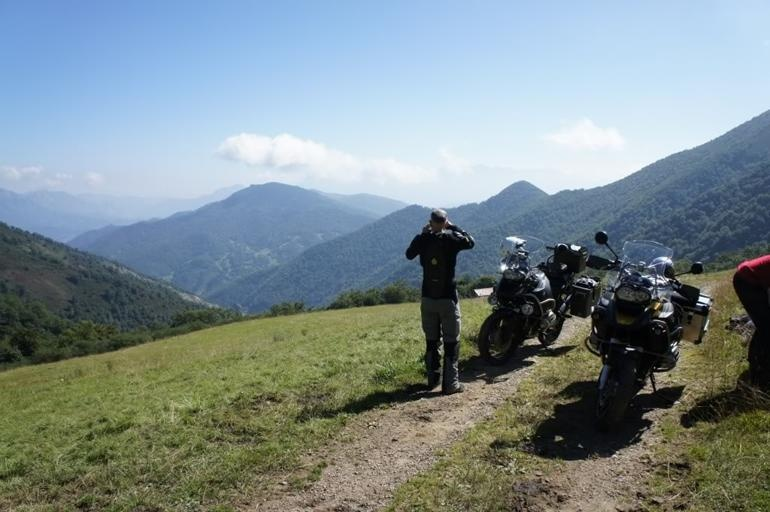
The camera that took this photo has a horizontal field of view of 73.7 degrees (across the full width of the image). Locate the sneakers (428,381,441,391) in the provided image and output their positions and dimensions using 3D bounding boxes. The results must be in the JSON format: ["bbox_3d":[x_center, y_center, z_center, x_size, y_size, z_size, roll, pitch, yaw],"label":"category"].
[{"bbox_3d":[1.141,3.095,12.267,0.179,0.144,0.294,-8,-10,21],"label":"sneakers"}]
